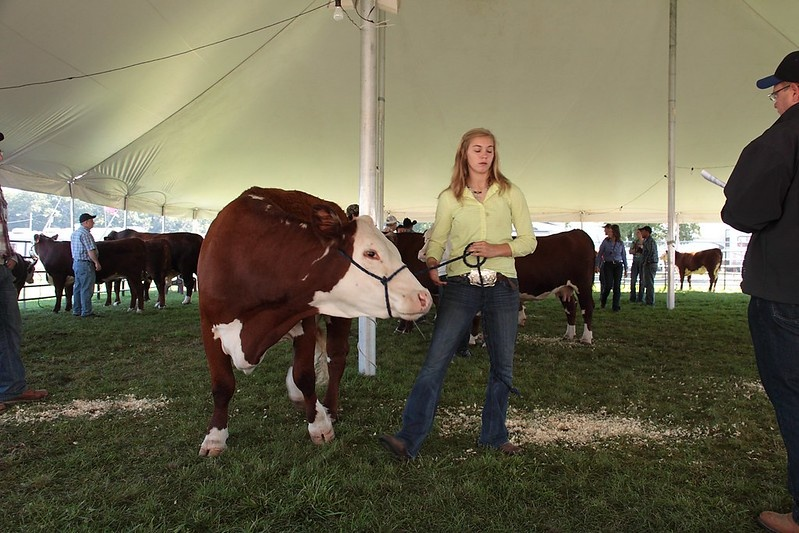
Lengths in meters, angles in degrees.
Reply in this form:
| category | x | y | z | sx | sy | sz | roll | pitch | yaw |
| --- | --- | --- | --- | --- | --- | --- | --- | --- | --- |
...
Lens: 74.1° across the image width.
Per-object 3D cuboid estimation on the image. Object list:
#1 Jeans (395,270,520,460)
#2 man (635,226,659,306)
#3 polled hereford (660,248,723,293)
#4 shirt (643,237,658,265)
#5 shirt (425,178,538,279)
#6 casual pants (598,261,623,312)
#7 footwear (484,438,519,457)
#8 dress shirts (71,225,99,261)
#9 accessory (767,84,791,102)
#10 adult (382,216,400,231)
| category | x | y | z | sx | sy | sz | roll | pitch | yaw |
| --- | --- | --- | --- | --- | --- | --- | --- | --- | --- |
| Jeans | 0.668 | 1.042 | 5.537 | 1.225 | 0.490 | 2.306 | 5 | 45 | 13 |
| man | 7.413 | -0.012 | 15.859 | 0.540 | 2.378 | 1.574 | 3 | 9 | 26 |
| polled hereford | 13.237 | 0.090 | 23.444 | 1.435 | 1.857 | 4.120 | 1 | 9 | 9 |
| shirt | 7.459 | -0.453 | 15.789 | 0.398 | 0.750 | 0.796 | 4 | 4 | 32 |
| shirt | 0.854 | -0.367 | 5.825 | 1.481 | 1.431 | 0.868 | -1 | -6 | 8 |
| casual pants | 5.786 | 0.549 | 14.515 | 0.591 | 1.339 | 1.331 | 3 | 9 | 22 |
| footwear | 1.064 | 1.897 | 5.544 | 0.336 | 0.154 | 0.126 | -5 | -5 | 20 |
| dress shirts | -7.748 | -0.542 | 13.028 | 0.926 | 0.876 | 0.526 | 0 | 5 | 33 |
| accessory | 3.342 | -1.529 | 4.654 | 0.146 | 0.042 | 0.141 | -45 | 6 | 0 |
| adult | -0.222 | -1.164 | 13.560 | 0.603 | 0.441 | 0.783 | 0 | -2 | -6 |
